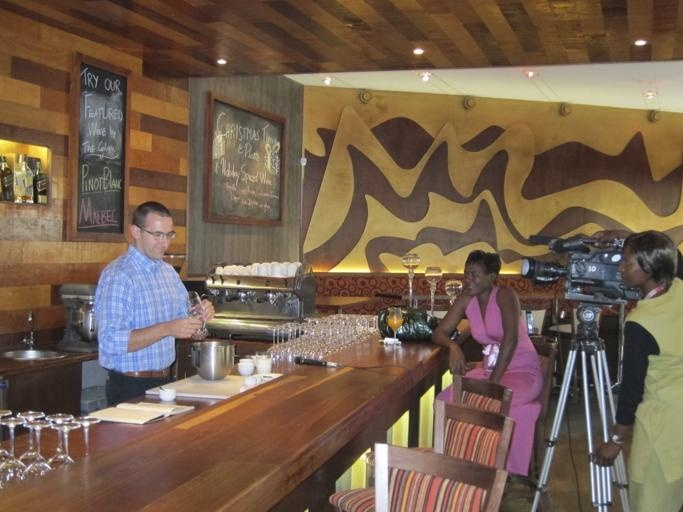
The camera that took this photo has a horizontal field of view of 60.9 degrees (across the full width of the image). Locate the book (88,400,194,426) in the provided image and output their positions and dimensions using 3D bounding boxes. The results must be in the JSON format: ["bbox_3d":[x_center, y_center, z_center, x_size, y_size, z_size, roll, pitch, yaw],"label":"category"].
[{"bbox_3d":[-0.850,0.676,2.527,0.414,0.045,0.328,-1,-2,-1],"label":"book"}]

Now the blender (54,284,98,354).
[{"bbox_3d":[-1.941,0.449,4.415,0.341,0.483,0.353,3,2,6],"label":"blender"}]

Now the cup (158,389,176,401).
[{"bbox_3d":[-0.808,0.645,2.712,0.055,0.036,0.057,0,-2,0],"label":"cup"}]

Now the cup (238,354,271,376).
[{"bbox_3d":[-0.479,0.602,3.207,0.166,0.109,0.103,1,-2,8],"label":"cup"}]

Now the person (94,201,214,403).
[{"bbox_3d":[-1.041,0.255,3.211,0.571,1.132,0.788,0,-2,-23],"label":"person"}]

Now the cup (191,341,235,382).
[{"bbox_3d":[-0.654,0.536,3.000,0.220,0.165,0.172,-1,2,-15],"label":"cup"}]

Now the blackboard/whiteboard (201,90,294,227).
[{"bbox_3d":[-1.155,-1.176,6.966,0.123,1.534,1.772,0,-4,21],"label":"blackboard/whiteboard"}]

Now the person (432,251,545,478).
[{"bbox_3d":[1.037,0.754,4.070,0.714,1.593,0.600,-1,-1,17],"label":"person"}]

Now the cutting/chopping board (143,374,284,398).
[{"bbox_3d":[-0.608,0.657,2.962,0.484,0.063,0.487,-2,-2,23],"label":"cutting/chopping board"}]

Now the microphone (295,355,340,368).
[{"bbox_3d":[-0.138,0.616,3.366,0.275,0.046,0.136,-2,-2,17],"label":"microphone"}]

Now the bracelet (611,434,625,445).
[{"bbox_3d":[1.308,0.875,2.759,0.055,0.032,0.043,0,9,-23],"label":"bracelet"}]

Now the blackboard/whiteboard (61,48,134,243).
[{"bbox_3d":[-2.042,-0.890,4.950,0.150,1.531,0.611,-1,-2,26],"label":"blackboard/whiteboard"}]

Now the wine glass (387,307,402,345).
[{"bbox_3d":[0.386,0.492,4.133,0.109,0.254,0.222,-1,-2,6],"label":"wine glass"}]

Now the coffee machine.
[{"bbox_3d":[-0.660,0.383,4.715,0.947,0.720,0.542,-1,-8,13],"label":"coffee machine"}]

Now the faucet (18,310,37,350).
[{"bbox_3d":[-2.347,0.557,4.388,0.095,0.284,0.240,0,-2,-29],"label":"faucet"}]
